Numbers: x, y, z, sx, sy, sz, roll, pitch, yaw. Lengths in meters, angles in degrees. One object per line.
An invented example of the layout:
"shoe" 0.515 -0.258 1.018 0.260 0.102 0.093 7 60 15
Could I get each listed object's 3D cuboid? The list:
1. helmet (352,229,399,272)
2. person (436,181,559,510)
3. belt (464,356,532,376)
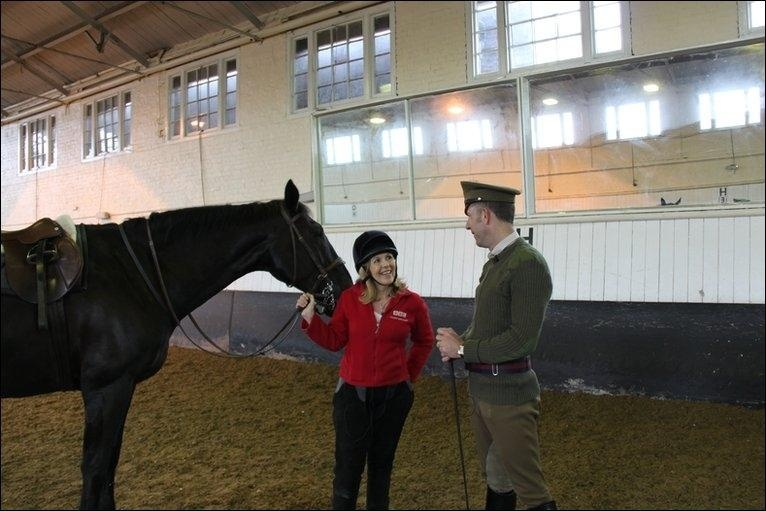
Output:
"helmet" -0.018 -0.110 4.336 0.268 0.189 0.347 13 -5 -44
"person" 0.832 0.656 4.040 0.727 2.387 0.414 -2 5 20
"belt" 0.800 0.774 4.000 0.445 0.102 0.115 -3 5 12
